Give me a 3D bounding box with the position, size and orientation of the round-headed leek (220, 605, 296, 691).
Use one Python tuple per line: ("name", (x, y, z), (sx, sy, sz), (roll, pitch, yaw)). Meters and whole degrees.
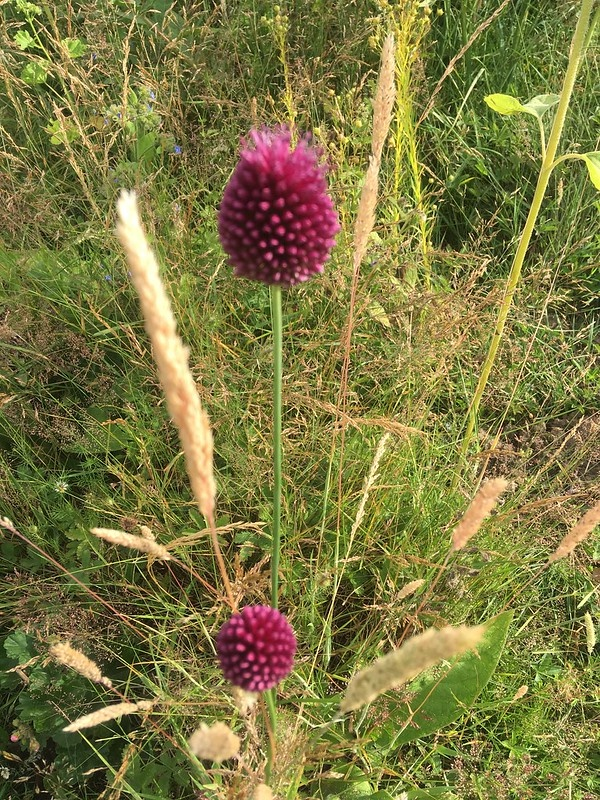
("round-headed leek", (-0.083, 0.454, 1.365), (0.146, 0.138, 0.136), (-11, 69, 31))
